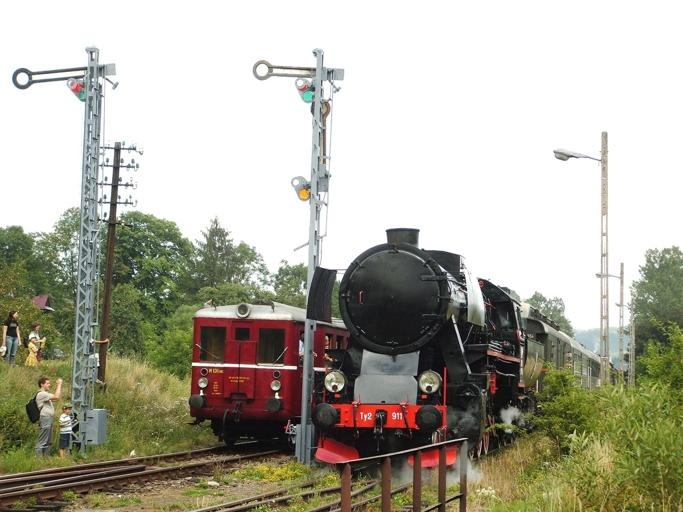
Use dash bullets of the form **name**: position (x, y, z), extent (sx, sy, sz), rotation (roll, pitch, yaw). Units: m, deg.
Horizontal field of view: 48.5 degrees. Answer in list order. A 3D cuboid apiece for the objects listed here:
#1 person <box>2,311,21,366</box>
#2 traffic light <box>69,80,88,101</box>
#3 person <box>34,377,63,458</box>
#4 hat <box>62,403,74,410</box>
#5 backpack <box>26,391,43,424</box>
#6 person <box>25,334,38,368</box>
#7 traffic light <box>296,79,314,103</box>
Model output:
- **person**: position (-9.698, 2.357, 22.264), extent (0.422, 1.557, 2.168), rotation (4, -10, -24)
- **traffic light**: position (-6.291, -3.986, 18.083), extent (0.447, 0.550, 0.220), rotation (-5, -10, 30)
- **person**: position (-6.405, 3.518, 16.494), extent (0.481, 1.677, 1.037), rotation (3, -9, -20)
- **hat**: position (-6.034, 3.348, 16.759), extent (0.287, 0.100, 0.306), rotation (3, -9, -9)
- **backpack**: position (-6.572, 3.277, 16.202), extent (0.265, 0.587, 0.409), rotation (4, -9, -23)
- **person**: position (-9.298, 2.936, 22.838), extent (0.358, 0.802, 1.252), rotation (4, -10, -22)
- **traffic light**: position (-0.811, -3.787, 17.220), extent (0.368, 0.599, 0.279), rotation (1, -8, -4)
